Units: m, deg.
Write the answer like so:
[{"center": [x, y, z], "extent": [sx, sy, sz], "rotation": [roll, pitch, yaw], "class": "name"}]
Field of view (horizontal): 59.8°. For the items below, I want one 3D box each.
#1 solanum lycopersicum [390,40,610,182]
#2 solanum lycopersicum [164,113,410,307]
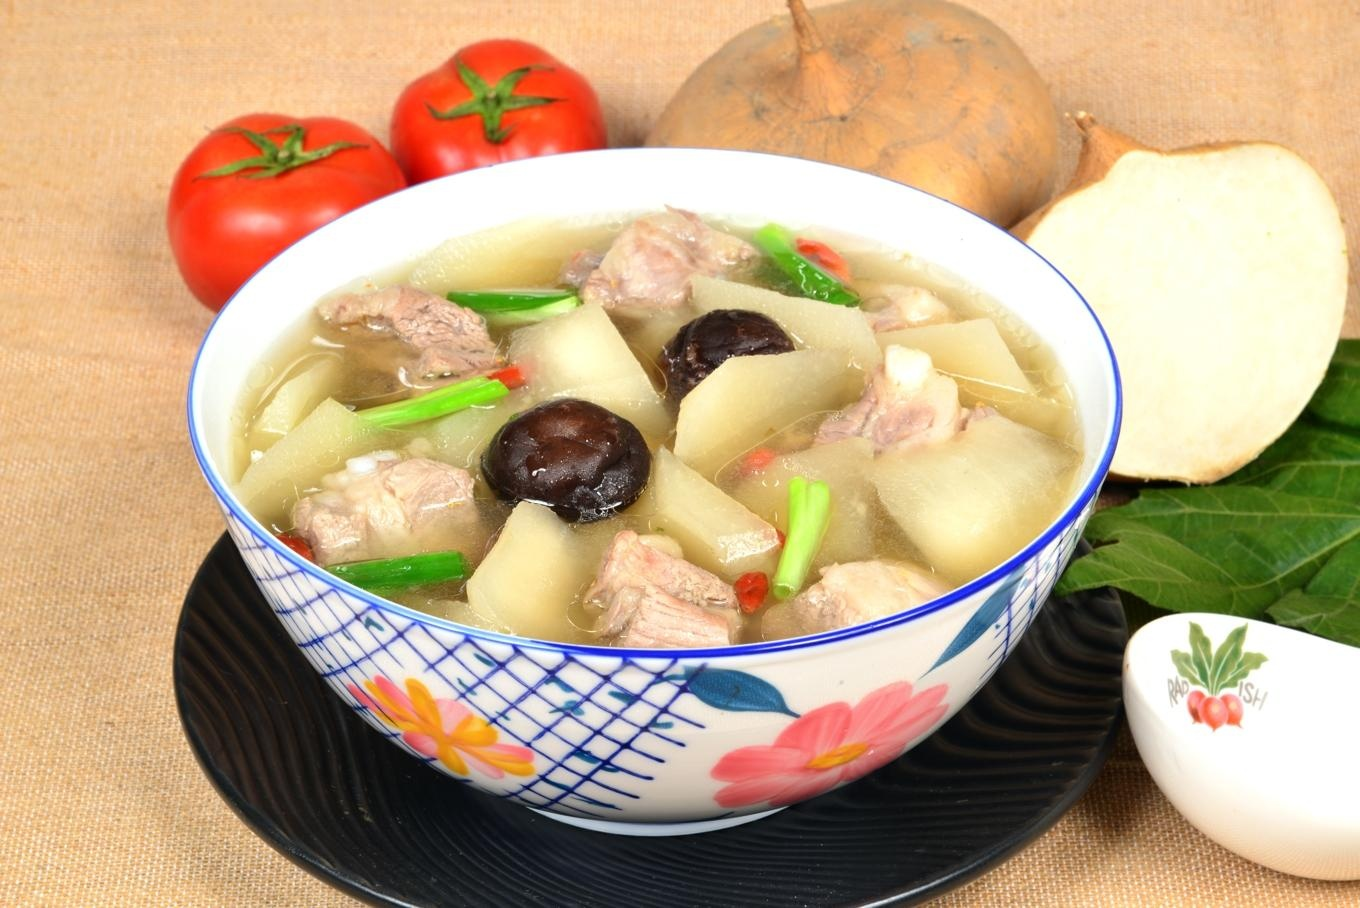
[{"center": [-0.719, -1.288, 4.691], "extent": [0.944, 0.523, 0.698], "rotation": [0, 73, -1], "class": "solanum lycopersicum"}, {"center": [-1.439, -0.898, 4.537], "extent": [1.002, 0.795, 0.754], "rotation": [-1, 70, 2], "class": "solanum lycopersicum"}]
